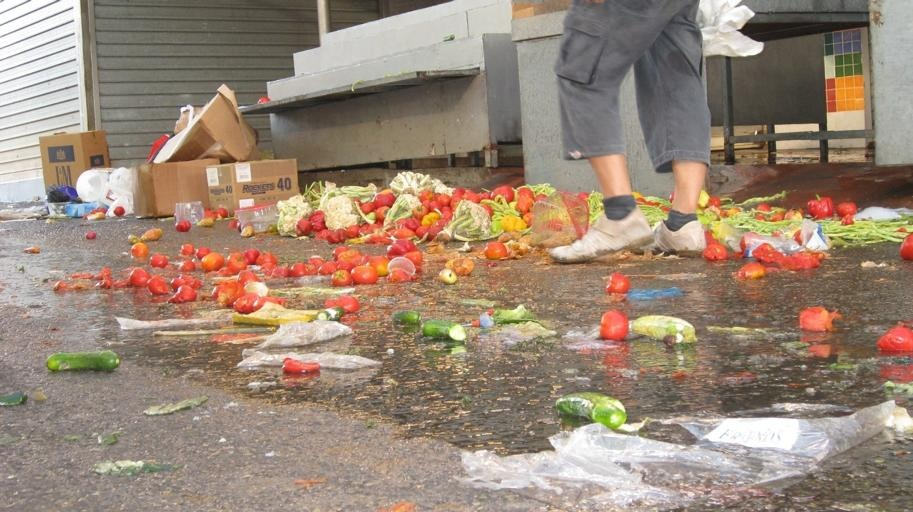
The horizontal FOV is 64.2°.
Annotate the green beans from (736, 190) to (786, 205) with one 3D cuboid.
[{"bbox_3d":[2.838,-0.546,6.825,0.503,0.131,0.320,-2,4,-1],"label":"green beans"}]

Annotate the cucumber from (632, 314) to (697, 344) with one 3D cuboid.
[{"bbox_3d":[0.949,0.331,3.347,0.252,0.101,0.087,7,1,31],"label":"cucumber"}]

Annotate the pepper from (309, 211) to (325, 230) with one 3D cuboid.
[{"bbox_3d":[-1.292,-0.356,7.012,0.170,0.172,0.158,-3,18,-1],"label":"pepper"}]

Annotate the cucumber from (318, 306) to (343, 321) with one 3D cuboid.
[{"bbox_3d":[-0.659,0.305,3.841,0.062,0.066,0.170,-1,4,19],"label":"cucumber"}]

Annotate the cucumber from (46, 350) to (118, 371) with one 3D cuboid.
[{"bbox_3d":[-1.705,0.479,3.385,0.419,0.097,0.102,0,-33,5],"label":"cucumber"}]

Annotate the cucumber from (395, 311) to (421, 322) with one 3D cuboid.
[{"bbox_3d":[-0.245,0.305,3.728,0.120,0.046,0.054,2,-9,19],"label":"cucumber"}]

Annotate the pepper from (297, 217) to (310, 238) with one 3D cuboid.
[{"bbox_3d":[-1.454,-0.284,7.042,0.158,0.142,0.092,9,-4,-1],"label":"pepper"}]

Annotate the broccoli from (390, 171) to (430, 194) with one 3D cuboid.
[{"bbox_3d":[-0.465,-0.743,7.158,0.319,0.099,0.293,8,19,26],"label":"broccoli"}]

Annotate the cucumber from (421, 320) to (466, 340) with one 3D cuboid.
[{"bbox_3d":[-0.061,0.348,3.491,0.194,0.061,0.092,5,8,38],"label":"cucumber"}]
